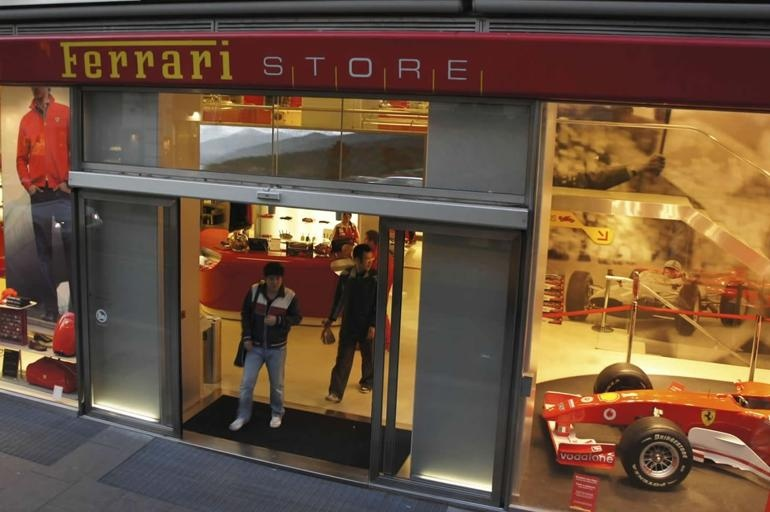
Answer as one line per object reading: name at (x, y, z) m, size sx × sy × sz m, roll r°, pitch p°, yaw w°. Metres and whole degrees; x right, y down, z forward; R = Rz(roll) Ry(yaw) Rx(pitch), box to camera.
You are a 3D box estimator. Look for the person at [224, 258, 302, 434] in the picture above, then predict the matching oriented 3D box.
person at (-1.601, 1.159, 8.668) m, size 0.950 × 2.234 × 0.757 m, roll 5°, pitch 16°, yaw 0°
